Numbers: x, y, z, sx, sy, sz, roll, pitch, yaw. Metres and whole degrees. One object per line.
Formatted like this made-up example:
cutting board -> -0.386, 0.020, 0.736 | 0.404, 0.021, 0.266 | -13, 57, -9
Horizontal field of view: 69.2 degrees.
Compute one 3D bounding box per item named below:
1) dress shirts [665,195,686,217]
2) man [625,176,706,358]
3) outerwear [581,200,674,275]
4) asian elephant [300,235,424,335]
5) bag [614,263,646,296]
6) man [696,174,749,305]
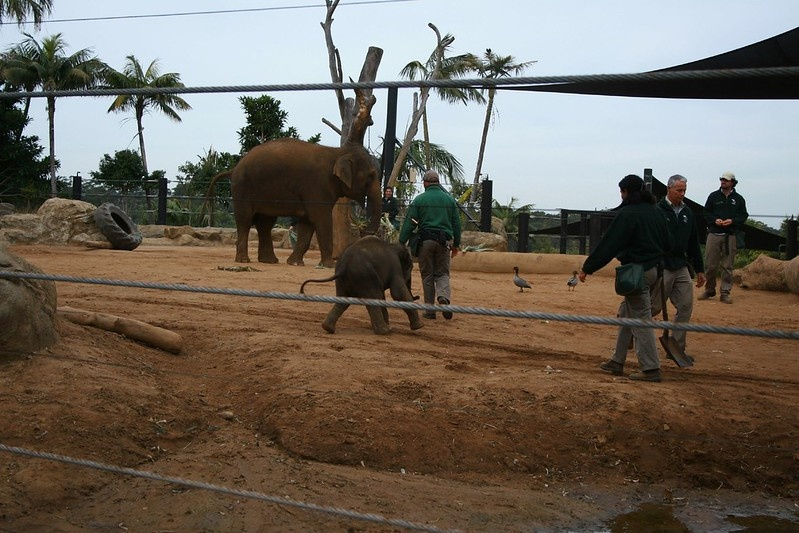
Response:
dress shirts -> 3.137, -0.692, 6.632 | 0.180, 0.106, 0.245 | 14, 12, -13
man -> 3.113, 0.001, 6.633 | 0.826, 2.056, 0.899 | 0, 4, 0
outerwear -> 2.466, -0.339, 6.395 | 1.195, 0.828, 0.669 | -2, 10, -28
asian elephant -> -0.551, 0.230, 7.934 | 2.172, 1.298, 0.888 | -6, 8, -42
bag -> 2.429, 0.133, 6.064 | 0.261, 0.297, 0.179 | -13, -27, 40
man -> 5.749, -0.515, 10.369 | 0.791, 2.249, 0.720 | -3, 5, -39
